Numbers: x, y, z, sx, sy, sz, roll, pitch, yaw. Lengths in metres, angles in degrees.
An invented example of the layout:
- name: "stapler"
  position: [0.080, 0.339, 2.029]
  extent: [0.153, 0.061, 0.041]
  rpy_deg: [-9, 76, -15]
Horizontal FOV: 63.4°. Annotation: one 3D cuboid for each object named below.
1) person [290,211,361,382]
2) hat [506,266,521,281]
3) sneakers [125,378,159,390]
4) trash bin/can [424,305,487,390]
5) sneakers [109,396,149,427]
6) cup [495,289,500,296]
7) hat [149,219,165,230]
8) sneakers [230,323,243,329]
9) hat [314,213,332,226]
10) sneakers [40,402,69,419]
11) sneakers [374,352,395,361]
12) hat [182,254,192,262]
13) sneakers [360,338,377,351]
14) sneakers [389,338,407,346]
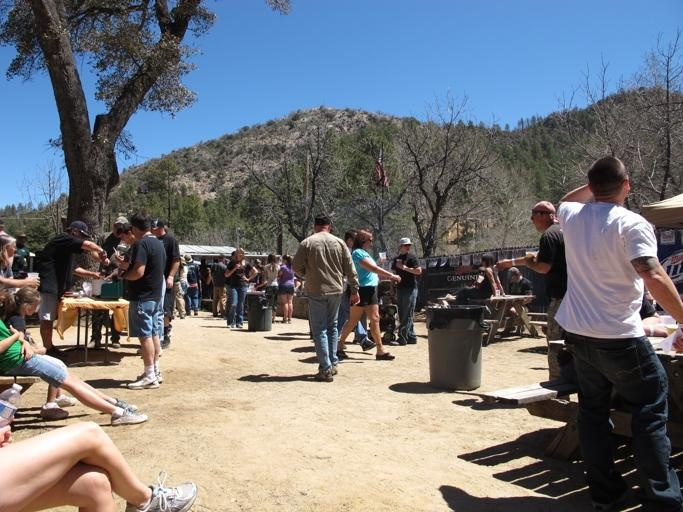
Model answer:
- name: "person"
  position: [-0.251, 0.592, 8.533]
  extent: [0.983, 2.435, 0.863]
  rpy_deg: [0, -7, -13]
- name: "hat"
  position: [4.497, 0.469, 14.437]
  extent: [0.306, 0.286, 0.531]
  rpy_deg: [-13, 5, 23]
- name: "sneakers"
  position: [-2.677, 1.735, 7.432]
  extent: [0.422, 0.209, 0.163]
  rpy_deg: [6, -9, -22]
- name: "trash bin/can"
  position: [1.560, 1.251, 7.424]
  extent: [0.987, 1.284, 1.070]
  rpy_deg: [-2, -1, 5]
- name: "sneakers"
  position: [-2.342, 1.712, 6.022]
  extent: [0.480, 0.225, 0.161]
  rpy_deg: [9, -4, -40]
- name: "cup"
  position: [3.669, 0.860, 12.949]
  extent: [0.117, 0.161, 0.214]
  rpy_deg: [-14, -12, 42]
- name: "hat"
  position: [-3.050, -0.535, 9.155]
  extent: [0.242, 0.187, 0.344]
  rpy_deg: [3, 22, -18]
- name: "sneakers"
  position: [-2.718, 1.806, 14.249]
  extent: [0.133, 0.176, 0.391]
  rpy_deg: [4, -10, -42]
- name: "hat"
  position: [-0.290, -0.540, 8.575]
  extent: [0.199, 0.171, 0.209]
  rpy_deg: [11, 13, -7]
- name: "sneakers"
  position: [-3.253, 1.748, 6.312]
  extent: [0.299, 0.194, 0.151]
  rpy_deg: [6, 8, -22]
- name: "sneakers"
  position: [0.773, 1.786, 9.822]
  extent: [0.146, 0.100, 0.265]
  rpy_deg: [3, -7, -35]
- name: "hat"
  position: [-5.087, 0.078, 18.248]
  extent: [0.259, 0.094, 0.261]
  rpy_deg: [18, 8, -19]
- name: "sneakers"
  position: [0.493, 1.597, 9.994]
  extent: [0.156, 0.235, 0.259]
  rpy_deg: [-8, -13, 36]
- name: "sneakers"
  position: [1.202, 1.810, 11.608]
  extent: [0.379, 0.171, 0.132]
  rpy_deg: [3, 22, 9]
